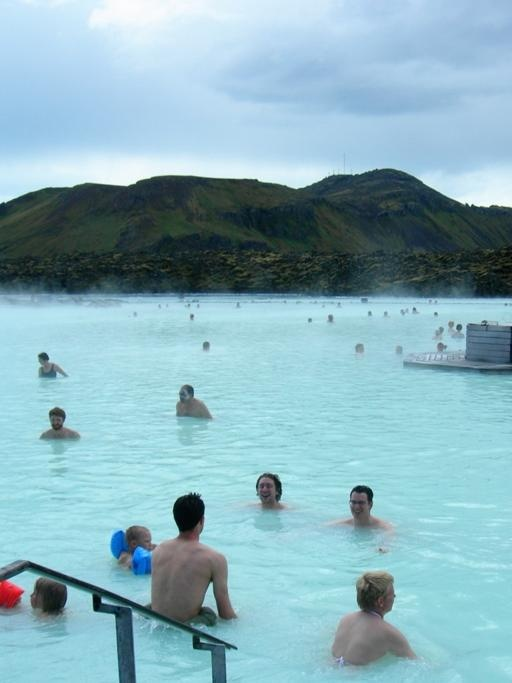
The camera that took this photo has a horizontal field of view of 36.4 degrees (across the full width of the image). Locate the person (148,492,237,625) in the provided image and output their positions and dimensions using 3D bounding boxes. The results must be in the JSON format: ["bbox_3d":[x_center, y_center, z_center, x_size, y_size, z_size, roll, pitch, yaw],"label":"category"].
[{"bbox_3d":[-0.478,1.590,5.528,0.570,1.010,0.432,-3,4,-5],"label":"person"}]

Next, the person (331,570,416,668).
[{"bbox_3d":[0.802,1.896,5.419,0.630,0.562,0.815,2,-7,-17],"label":"person"}]

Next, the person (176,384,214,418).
[{"bbox_3d":[-1.142,1.064,14.099,0.616,0.655,0.640,-3,4,-7],"label":"person"}]

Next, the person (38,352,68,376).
[{"bbox_3d":[-5.206,0.572,19.798,0.607,0.685,1.344,-3,3,-14],"label":"person"}]
